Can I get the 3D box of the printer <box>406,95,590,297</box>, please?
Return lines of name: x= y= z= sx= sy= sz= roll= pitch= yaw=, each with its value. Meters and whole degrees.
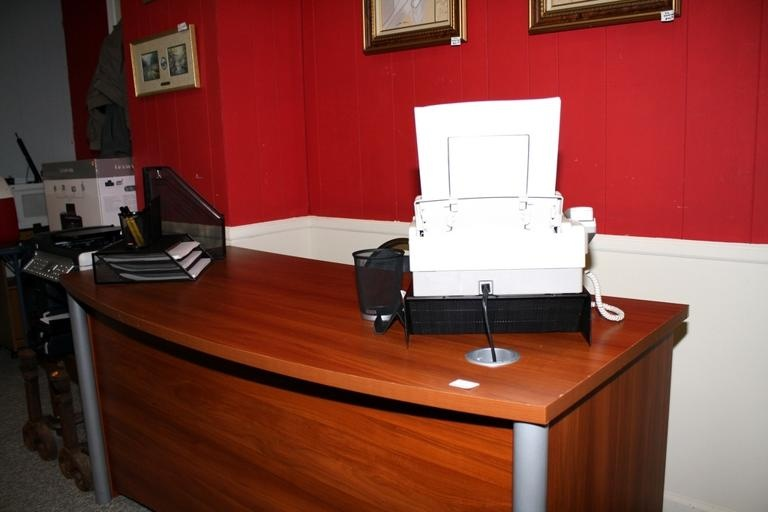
printer: x=0.415 y=-0.206 z=2.095 sx=0.588 sy=0.649 sz=0.636 roll=-2 pitch=8 yaw=12

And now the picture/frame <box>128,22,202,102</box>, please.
picture/frame: x=-1.364 y=-1.180 z=3.391 sx=0.525 sy=0.333 sz=0.035 roll=2 pitch=10 yaw=28

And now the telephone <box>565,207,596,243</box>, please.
telephone: x=0.694 y=-0.116 z=1.943 sx=0.121 sy=0.131 sz=0.119 roll=-1 pitch=11 yaw=-5
